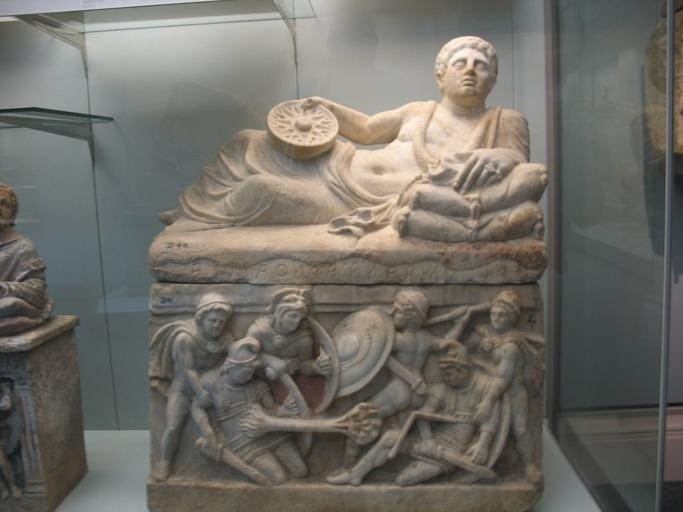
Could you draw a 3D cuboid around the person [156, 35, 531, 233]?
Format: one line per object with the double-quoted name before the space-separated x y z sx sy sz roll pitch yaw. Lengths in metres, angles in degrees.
"person" 0.181 -0.662 6.916 1.788 0.919 1.294 1 9 16
